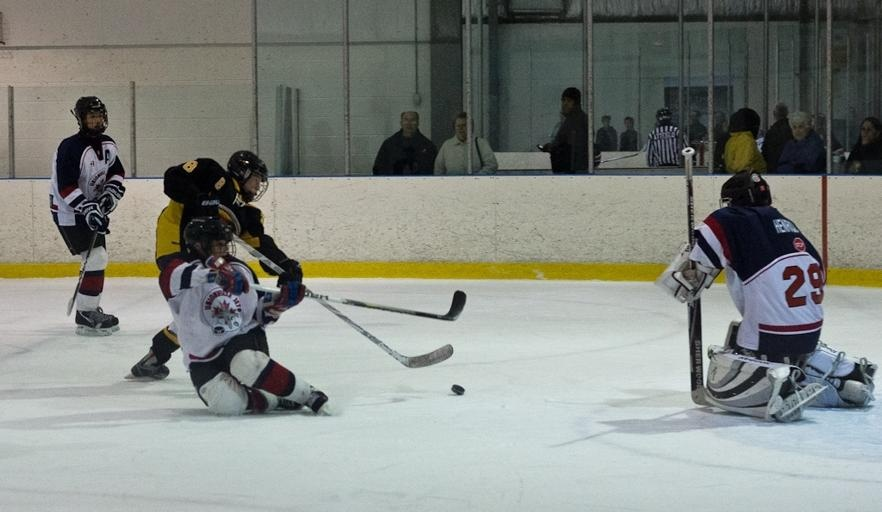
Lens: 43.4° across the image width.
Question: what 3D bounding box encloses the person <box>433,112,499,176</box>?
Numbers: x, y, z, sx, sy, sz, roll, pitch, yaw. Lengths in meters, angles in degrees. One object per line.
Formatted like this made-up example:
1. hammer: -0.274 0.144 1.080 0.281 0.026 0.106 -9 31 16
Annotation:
1. person: 0.324 -1.322 12.850 0.850 0.648 0.430 -2 6 8

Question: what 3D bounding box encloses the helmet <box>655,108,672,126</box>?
1. helmet: 2.521 -1.573 12.526 0.185 0.187 0.209 1 11 8

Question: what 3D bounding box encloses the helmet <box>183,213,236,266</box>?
1. helmet: -1.715 -0.115 8.193 0.453 0.361 0.320 -4 7 12

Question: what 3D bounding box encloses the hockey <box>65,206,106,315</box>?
1. hockey: -3.361 0.034 10.512 0.085 1.176 0.136 -18 -41 36

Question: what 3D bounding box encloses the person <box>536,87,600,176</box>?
1. person: 1.434 -1.496 12.945 0.649 0.918 0.711 6 13 25

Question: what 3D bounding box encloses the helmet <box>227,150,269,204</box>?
1. helmet: -1.517 -0.633 8.940 0.257 0.414 0.336 6 11 37

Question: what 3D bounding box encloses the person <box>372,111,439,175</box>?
1. person: -0.388 -1.347 12.875 0.841 0.969 0.260 1 11 -6

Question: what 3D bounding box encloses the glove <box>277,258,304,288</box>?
1. glove: -1.156 0.155 8.557 0.191 0.216 0.230 1 -24 -4

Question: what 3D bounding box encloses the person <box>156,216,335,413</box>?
1. person: -1.521 0.465 8.398 1.218 1.508 0.946 -7 1 -7

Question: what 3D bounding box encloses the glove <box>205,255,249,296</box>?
1. glove: -1.570 0.141 8.213 0.352 0.194 0.149 42 -4 11

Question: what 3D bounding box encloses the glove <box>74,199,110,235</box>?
1. glove: -3.229 -0.360 10.394 0.226 0.331 0.136 -38 -1 5

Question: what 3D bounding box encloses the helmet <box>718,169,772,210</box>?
1. helmet: 2.363 -0.508 8.464 0.300 0.305 0.328 5 26 -14
